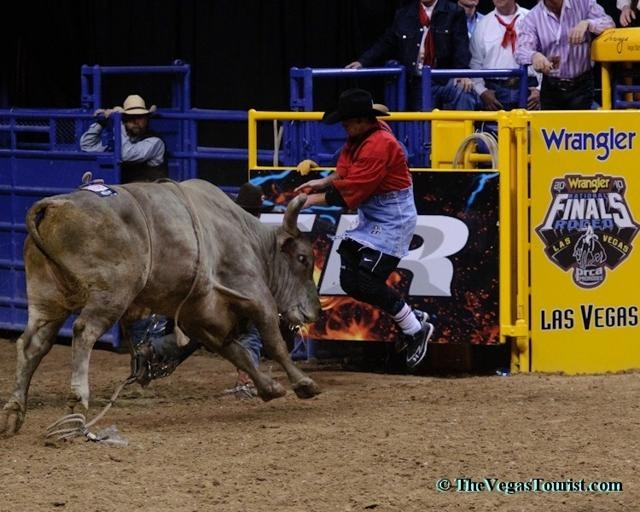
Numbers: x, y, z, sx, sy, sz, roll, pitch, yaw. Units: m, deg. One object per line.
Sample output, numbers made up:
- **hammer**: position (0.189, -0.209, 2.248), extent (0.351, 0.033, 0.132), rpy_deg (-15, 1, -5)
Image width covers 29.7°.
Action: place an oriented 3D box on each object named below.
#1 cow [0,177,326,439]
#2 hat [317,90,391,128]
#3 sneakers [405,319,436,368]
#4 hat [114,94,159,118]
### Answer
- **cow**: position (-1.105, 0.325, 8.534), extent (2.272, 1.690, 0.618), rpy_deg (-2, 6, -31)
- **hat**: position (0.284, -1.191, 9.415), extent (0.528, 0.173, 0.380), rpy_deg (-12, 23, -8)
- **sneakers**: position (0.846, 0.740, 10.069), extent (0.206, 0.402, 0.165), rpy_deg (18, 10, -33)
- **hat**: position (-1.782, -1.437, 11.740), extent (0.343, 0.129, 0.380), rpy_deg (-4, 0, -10)
